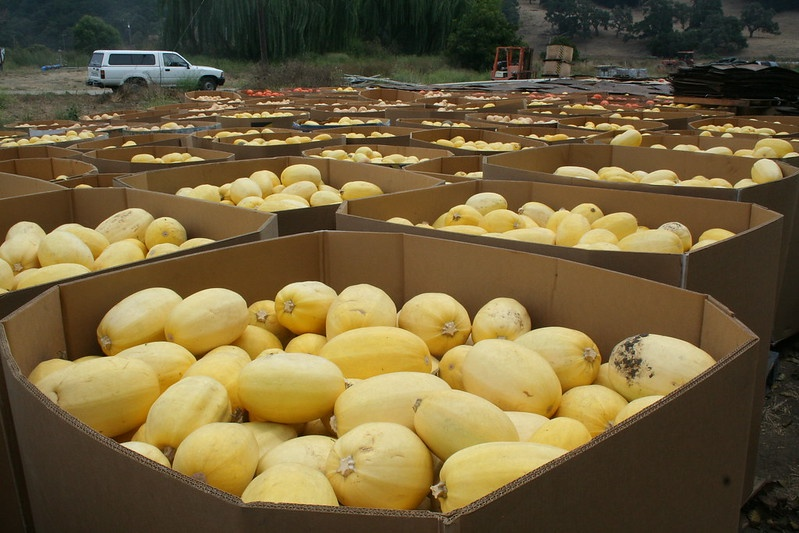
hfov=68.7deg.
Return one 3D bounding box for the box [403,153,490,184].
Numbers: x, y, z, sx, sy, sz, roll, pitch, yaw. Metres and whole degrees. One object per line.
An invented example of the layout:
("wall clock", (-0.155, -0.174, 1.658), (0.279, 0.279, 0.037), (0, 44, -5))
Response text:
("box", (0.446, -0.896, 5.422), (0.414, 0.280, 0.421), (16, 27, 39))
